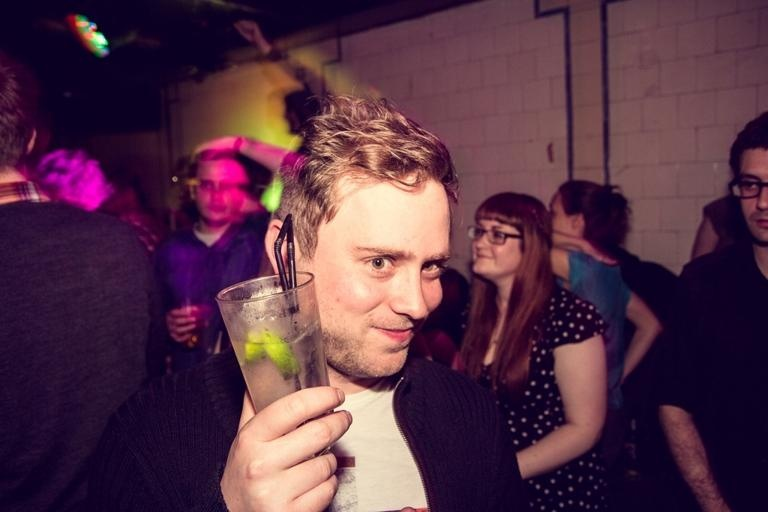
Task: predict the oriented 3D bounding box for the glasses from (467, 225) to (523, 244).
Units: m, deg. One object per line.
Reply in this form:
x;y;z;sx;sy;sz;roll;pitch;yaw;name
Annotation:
0.804;-0.143;4.266;0.198;0.056;0.190;12;-6;-36;glasses

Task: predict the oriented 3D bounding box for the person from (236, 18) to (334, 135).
-1.040;-1.815;5.984;0.727;0.573;2.056;-12;32;-8;person
